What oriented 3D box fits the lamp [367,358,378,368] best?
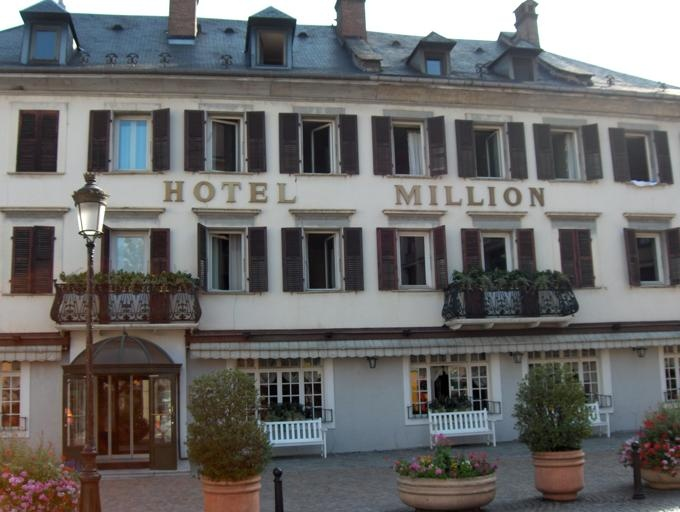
[{"bbox_3d":[1.047,3.414,28.529,0.316,0.389,0.347,-1,2,-8],"label":"lamp"}]

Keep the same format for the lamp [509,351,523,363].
[{"bbox_3d":[5.856,3.340,29.501,0.390,0.460,0.351,0,0,6],"label":"lamp"}]

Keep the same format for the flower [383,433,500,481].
[{"bbox_3d":[2.481,4.912,21.094,1.881,0.854,1.363,3,-15,-13],"label":"flower"}]
